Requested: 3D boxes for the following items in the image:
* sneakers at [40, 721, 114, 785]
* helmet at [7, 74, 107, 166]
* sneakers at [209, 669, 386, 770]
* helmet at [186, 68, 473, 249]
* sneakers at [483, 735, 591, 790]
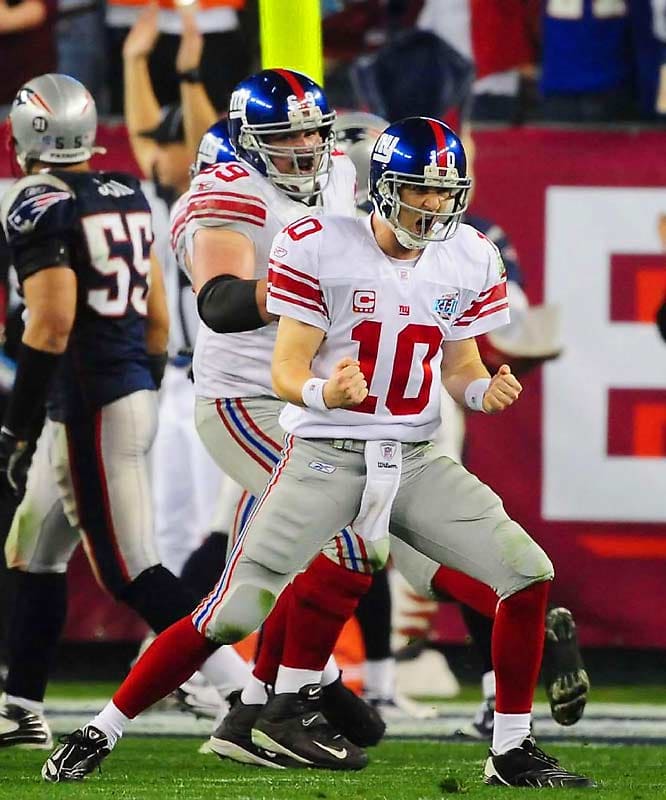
[{"bbox_3d":[-0.471,0.657,2.075,0.082,0.062,0.156,8,17,21],"label":"sneakers"},{"bbox_3d":[-0.635,-0.648,2.578,0.191,0.180,0.229,-4,31,-14],"label":"helmet"},{"bbox_3d":[-0.084,0.626,2.345,0.251,0.149,0.287,1,-4,3],"label":"sneakers"},{"bbox_3d":[-0.004,-0.482,2.174,0.586,0.237,0.314,23,26,21],"label":"helmet"},{"bbox_3d":[0.356,0.664,2.027,0.212,0.079,0.071,1,-7,7],"label":"sneakers"}]
